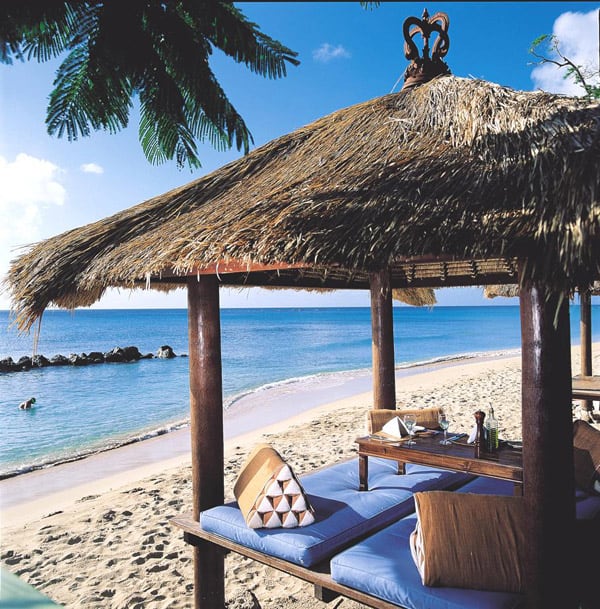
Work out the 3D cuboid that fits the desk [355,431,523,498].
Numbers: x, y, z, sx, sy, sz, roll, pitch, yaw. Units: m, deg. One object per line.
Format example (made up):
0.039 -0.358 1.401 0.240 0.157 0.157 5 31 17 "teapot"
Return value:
0.982 1.086 4.044 1.122 0.365 0.541 -6 -2 27 "desk"
